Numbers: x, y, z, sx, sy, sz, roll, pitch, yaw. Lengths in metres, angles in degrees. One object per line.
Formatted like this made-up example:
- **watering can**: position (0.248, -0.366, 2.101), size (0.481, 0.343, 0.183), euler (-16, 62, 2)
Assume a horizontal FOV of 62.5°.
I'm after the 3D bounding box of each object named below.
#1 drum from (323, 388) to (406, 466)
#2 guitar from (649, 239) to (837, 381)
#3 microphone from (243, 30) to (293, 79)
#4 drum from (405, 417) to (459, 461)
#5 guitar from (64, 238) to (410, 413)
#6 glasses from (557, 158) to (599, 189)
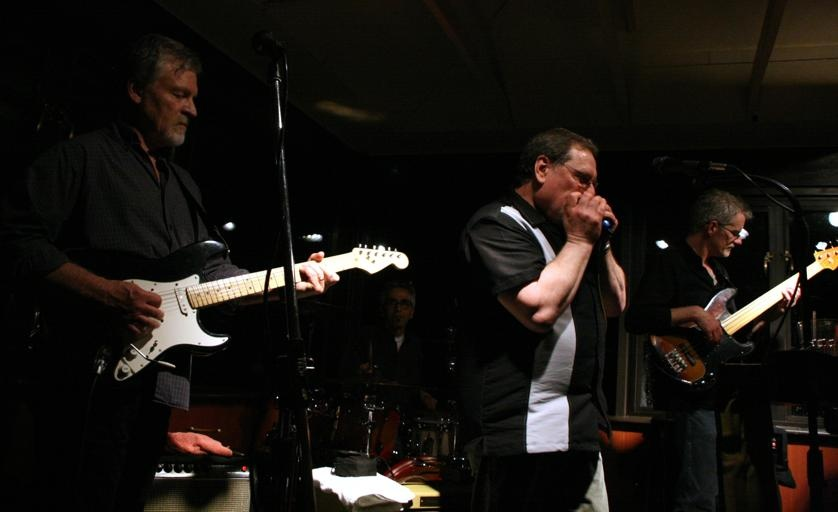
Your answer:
- **drum**: position (-0.394, 1.316, 5.493), size (0.630, 0.745, 0.492), euler (7, -5, -3)
- **guitar**: position (2.231, 0.539, 5.027), size (1.103, 0.831, 0.231), euler (3, -19, -5)
- **microphone**: position (-0.734, -0.991, 3.375), size (0.128, 0.270, 0.163), euler (-4, -19, 17)
- **drum**: position (0.095, 1.380, 5.252), size (0.514, 0.339, 0.271), euler (-1, -17, 6)
- **guitar**: position (-1.113, 0.457, 4.234), size (1.530, 0.518, 0.209), euler (-10, -12, -34)
- **glasses**: position (0.801, -0.413, 3.527), size (0.160, 0.049, 0.152), euler (20, 17, -44)
